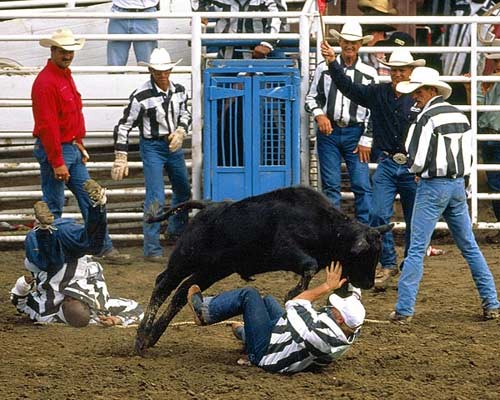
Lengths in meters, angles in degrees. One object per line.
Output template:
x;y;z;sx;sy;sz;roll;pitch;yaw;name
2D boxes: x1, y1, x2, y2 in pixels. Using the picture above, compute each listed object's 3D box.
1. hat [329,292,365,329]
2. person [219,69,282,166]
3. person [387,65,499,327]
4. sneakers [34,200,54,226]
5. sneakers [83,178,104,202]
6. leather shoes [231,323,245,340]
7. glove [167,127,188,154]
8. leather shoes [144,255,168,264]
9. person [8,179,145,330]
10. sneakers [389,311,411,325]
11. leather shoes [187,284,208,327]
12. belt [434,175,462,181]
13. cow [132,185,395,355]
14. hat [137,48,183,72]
0.743;0.814;5.666;0.159;0.280;0.202;-36;0;37;hat
0.016;-0.908;8.440;0.779;1.052;0.490;2;14;3;person
1.823;-0.031;6.960;0.903;2.338;0.626;4;14;9;person
-1.756;0.106;6.476;0.154;0.206;0.071;-19;9;-11;sneakers
-1.297;-0.086;6.284;0.152;0.193;0.073;-43;16;-8;sneakers
-0.094;1.096;6.290;0.126;0.046;0.134;0;41;-12;leather shoes
-0.843;-0.700;8.713;0.191;0.295;0.275;3;13;6;glove
-1.094;0.692;8.889;0.293;0.099;0.089;-1;5;10;leather shoes
-1.717;0.566;7.511;1.289;1.418;1.095;-12;27;-38;person
1.368;1.100;7.048;0.209;0.078;0.090;7;11;26;sneakers
-0.424;0.867;6.221;0.161;0.334;0.156;-10;-14;-6;leather shoes
1.778;-0.209;6.862;0.280;0.034;0.056;-2;12;-15;belt
0.096;0.516;6.216;2.244;1.020;0.546;-5;-15;24;cow
-1.023;-1.583;8.698;0.504;0.171;0.483;-5;3;-5;hat
